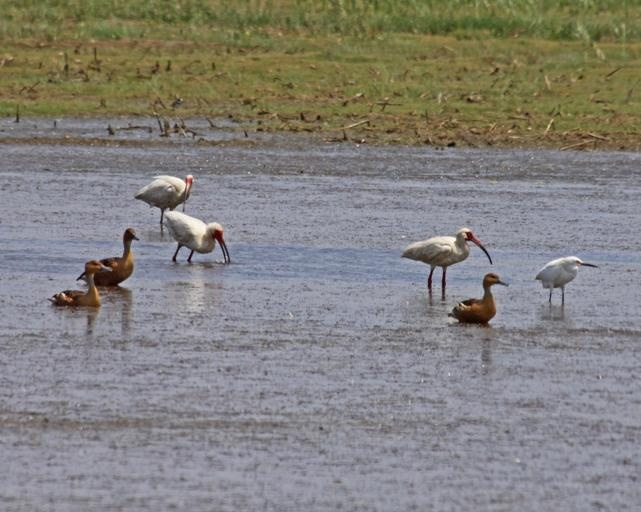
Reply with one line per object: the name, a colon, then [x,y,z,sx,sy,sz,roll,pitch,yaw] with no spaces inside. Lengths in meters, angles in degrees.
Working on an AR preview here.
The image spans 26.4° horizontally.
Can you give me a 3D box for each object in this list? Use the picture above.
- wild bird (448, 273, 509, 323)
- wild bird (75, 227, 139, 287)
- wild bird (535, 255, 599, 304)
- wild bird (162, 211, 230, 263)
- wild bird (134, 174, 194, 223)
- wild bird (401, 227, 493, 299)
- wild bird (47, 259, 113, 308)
wild bird: [2.680,0.714,23.259,0.479,0.981,1.292,-1,6,-41]
wild bird: [-3.788,0.049,24.722,1.570,1.132,0.617,0,1,37]
wild bird: [4.304,0.438,24.137,0.577,0.896,1.262,2,6,-43]
wild bird: [-2.340,-0.389,26.535,1.309,0.946,0.921,2,4,10]
wild bird: [-3.311,-1.273,29.591,1.522,1.037,0.769,6,-3,28]
wild bird: [2.274,-0.004,25.236,1.690,1.113,0.905,8,8,33]
wild bird: [-4.170,0.504,23.681,1.340,0.979,0.544,4,1,37]
